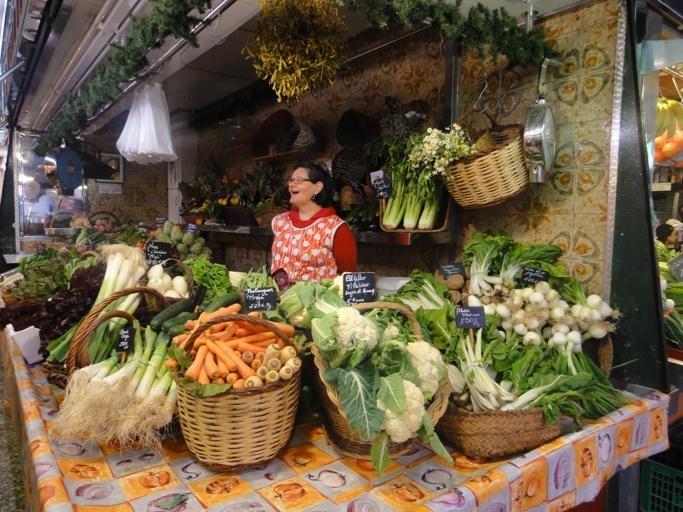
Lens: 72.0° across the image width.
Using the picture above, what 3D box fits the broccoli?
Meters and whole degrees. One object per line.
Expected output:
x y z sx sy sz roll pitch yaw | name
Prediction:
0.157 0.575 2.182 0.518 0.662 0.498 0 8 -29 | broccoli

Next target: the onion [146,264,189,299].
-1.133 0.167 3.080 0.224 0.148 0.266 24 -10 -27 | onion

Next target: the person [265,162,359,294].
-0.293 -0.228 3.987 0.645 1.074 0.581 -3 14 -28 | person

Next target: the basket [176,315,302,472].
-0.453 0.535 2.291 0.624 0.627 0.640 -2 10 -37 | basket

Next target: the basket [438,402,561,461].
0.745 0.797 2.166 0.554 0.224 0.160 -3 4 3 | basket

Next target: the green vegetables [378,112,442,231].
0.593 -0.663 3.771 0.572 0.852 0.403 6 10 26 | green vegetables

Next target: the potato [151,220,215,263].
-1.905 -0.193 5.609 0.633 0.458 0.537 -5 4 -18 | potato

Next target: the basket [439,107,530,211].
0.978 -0.610 3.172 0.447 0.545 0.461 -6 5 -33 | basket

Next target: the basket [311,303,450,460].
0.130 0.580 2.117 0.580 0.307 0.723 1 22 -12 | basket

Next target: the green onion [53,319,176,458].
-1.018 0.620 2.215 0.441 0.530 0.431 10 11 41 | green onion

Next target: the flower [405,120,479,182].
0.675 -0.692 3.323 0.392 0.452 0.400 -5 11 -31 | flower
